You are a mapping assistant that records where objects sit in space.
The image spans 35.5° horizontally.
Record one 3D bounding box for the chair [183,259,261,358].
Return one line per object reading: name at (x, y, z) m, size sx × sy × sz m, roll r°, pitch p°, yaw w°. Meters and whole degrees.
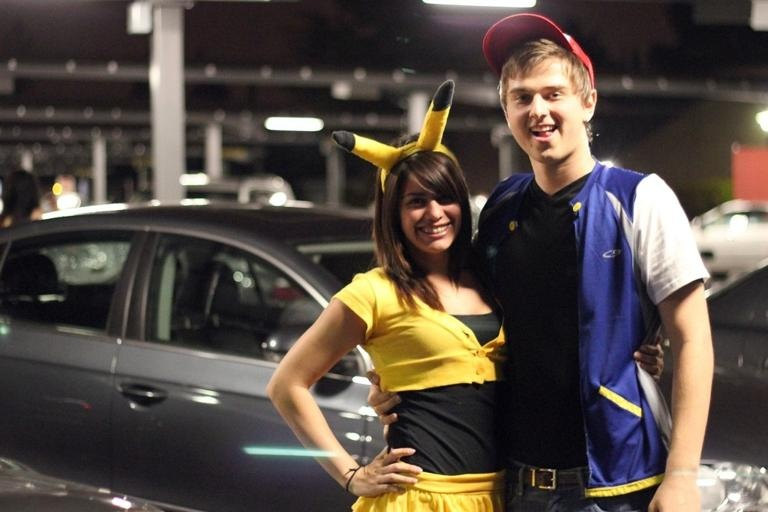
chair at (-1.175, 0.391, 8.914) m, size 0.542 × 0.711 × 0.247 m, roll 10°, pitch -23°, yaw -29°
